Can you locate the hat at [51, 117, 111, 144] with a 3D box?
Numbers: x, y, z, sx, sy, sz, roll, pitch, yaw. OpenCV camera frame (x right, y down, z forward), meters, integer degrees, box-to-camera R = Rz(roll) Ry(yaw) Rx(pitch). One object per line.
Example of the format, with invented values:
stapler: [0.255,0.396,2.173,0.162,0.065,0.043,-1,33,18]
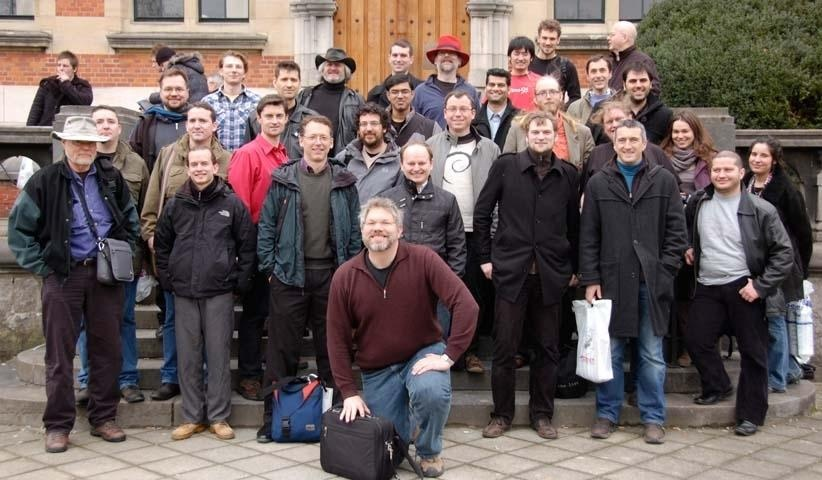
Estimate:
hat: [-3.952,-1.320,10.510,0.687,0.234,0.750,1,2,-25]

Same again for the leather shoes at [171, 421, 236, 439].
leather shoes: [-2.458,2.229,10.295,0.524,0.153,0.292,7,-9,-24]

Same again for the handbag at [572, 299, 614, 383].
handbag: [2.158,1.200,10.375,0.443,1.024,0.357,-1,4,10]

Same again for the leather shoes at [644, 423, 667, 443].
leather shoes: [2.878,2.267,10.357,0.233,0.206,0.183,-1,4,11]

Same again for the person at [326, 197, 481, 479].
person: [-0.136,1.056,9.654,1.580,3.037,0.454,-2,4,-5]

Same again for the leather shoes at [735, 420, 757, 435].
leather shoes: [4.071,2.237,10.599,0.333,0.161,0.206,-1,4,2]

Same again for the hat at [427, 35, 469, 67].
hat: [0.557,-2.915,13.064,0.713,0.261,0.738,2,-18,4]

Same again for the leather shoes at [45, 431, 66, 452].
leather shoes: [-4.084,2.289,10.056,0.242,0.222,0.183,-3,4,-21]

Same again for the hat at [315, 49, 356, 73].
hat: [-1.072,-2.593,12.311,0.510,0.343,0.874,-2,4,-7]

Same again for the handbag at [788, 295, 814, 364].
handbag: [5.094,1.145,11.429,0.294,0.788,0.186,-1,4,11]

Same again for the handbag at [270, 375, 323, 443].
handbag: [-1.322,1.958,10.135,0.834,0.785,0.472,0,-8,11]

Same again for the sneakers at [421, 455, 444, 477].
sneakers: [0.232,2.467,9.649,0.266,0.217,0.142,-1,4,0]

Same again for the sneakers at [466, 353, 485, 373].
sneakers: [0.812,1.564,11.074,0.145,0.116,0.297,1,-5,-14]

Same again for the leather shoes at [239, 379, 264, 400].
leather shoes: [-2.010,1.808,10.774,0.441,0.242,0.147,2,5,41]

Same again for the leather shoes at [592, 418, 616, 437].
leather shoes: [2.313,2.219,10.510,0.177,0.218,0.393,1,5,36]
